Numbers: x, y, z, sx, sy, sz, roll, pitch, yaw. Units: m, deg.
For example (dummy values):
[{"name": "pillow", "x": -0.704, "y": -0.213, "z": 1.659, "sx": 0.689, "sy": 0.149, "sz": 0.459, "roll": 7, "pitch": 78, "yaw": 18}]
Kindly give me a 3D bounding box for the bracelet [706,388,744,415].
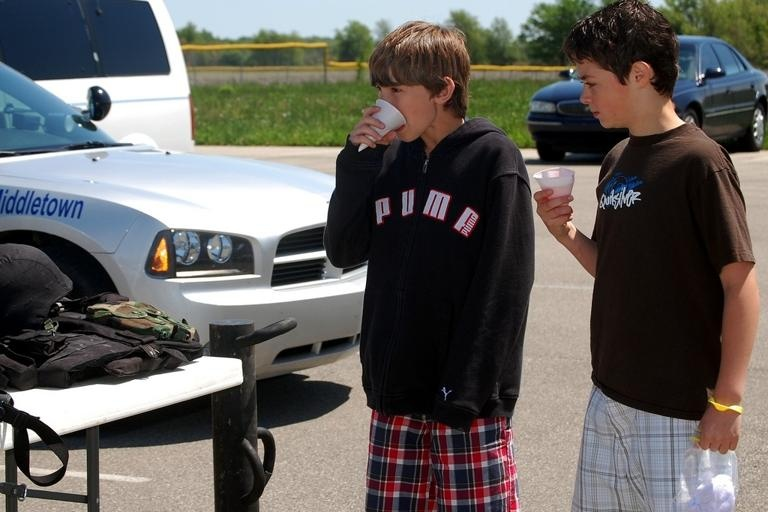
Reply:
[{"name": "bracelet", "x": 1.179, "y": 0.515, "z": 2.858, "sx": 0.101, "sy": 0.027, "sz": 0.096, "roll": 8, "pitch": 1, "yaw": -11}]
